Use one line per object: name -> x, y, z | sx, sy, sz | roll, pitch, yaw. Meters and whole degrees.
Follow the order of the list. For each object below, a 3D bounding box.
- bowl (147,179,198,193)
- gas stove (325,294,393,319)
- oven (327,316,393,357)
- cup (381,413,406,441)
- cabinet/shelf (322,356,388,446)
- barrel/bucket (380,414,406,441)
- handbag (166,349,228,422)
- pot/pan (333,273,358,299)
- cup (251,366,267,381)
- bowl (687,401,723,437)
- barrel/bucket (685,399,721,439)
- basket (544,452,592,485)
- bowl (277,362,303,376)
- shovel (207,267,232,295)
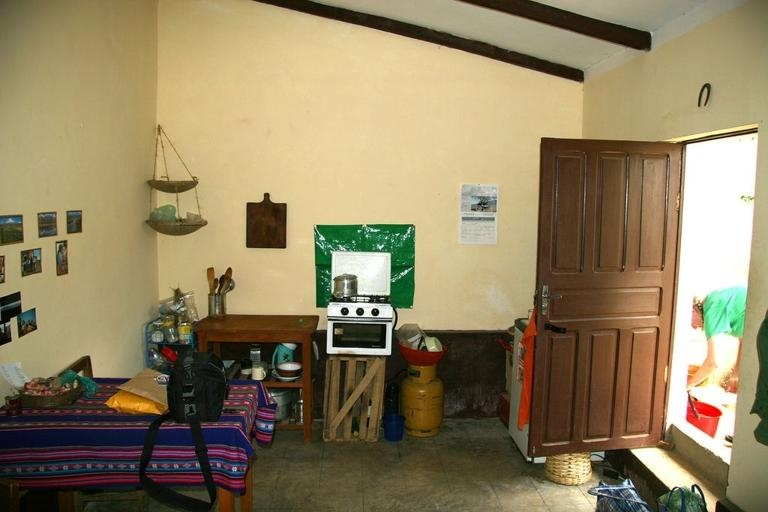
bowl -> -2.227, -0.748, 6.226 | 0.502, 0.161, 0.365 | 0, 1, -16
gas stove -> -0.240, 0.526, 6.132 | 0.640, 0.199, 0.354 | 0, 1, -2
oven -> -0.238, 0.834, 6.009 | 0.589, 0.379, 0.384 | 1, -5, 0
cup -> 0.107, 1.780, 6.195 | 0.262, 0.196, 0.240 | 0, 6, 0
cabinet/shelf -> -0.322, 1.471, 6.196 | 0.629, 0.888, 0.318 | 0, 2, -7
barrel/bucket -> 0.115, 1.789, 6.237 | 0.256, 0.192, 0.243 | 0, 5, 0
handbag -> -1.349, 0.931, 4.543 | 0.507, 0.555, 0.514 | 1, 1, -8
pot/pan -> -0.385, 0.313, 6.234 | 0.236, 0.213, 0.252 | 1, 6, 18
cup -> -1.302, 1.216, 6.126 | 0.212, 0.144, 0.138 | 2, -2, -6
bowl -> 3.124, 1.492, 5.667 | 0.209, 0.293, 0.250 | 3, 20, 45
barrel/bucket -> 3.030, 1.543, 5.614 | 0.257, 0.220, 0.306 | -6, 4, -41
basket -> 1.748, 1.996, 5.638 | 0.339, 0.303, 0.330 | 1, -4, -18
bowl -> -0.988, 1.180, 6.195 | 0.161, 0.065, 0.162 | -2, -2, 0
shovel -> -1.759, 0.281, 6.354 | 0.282, 0.272, 0.084 | 1, -12, -18
